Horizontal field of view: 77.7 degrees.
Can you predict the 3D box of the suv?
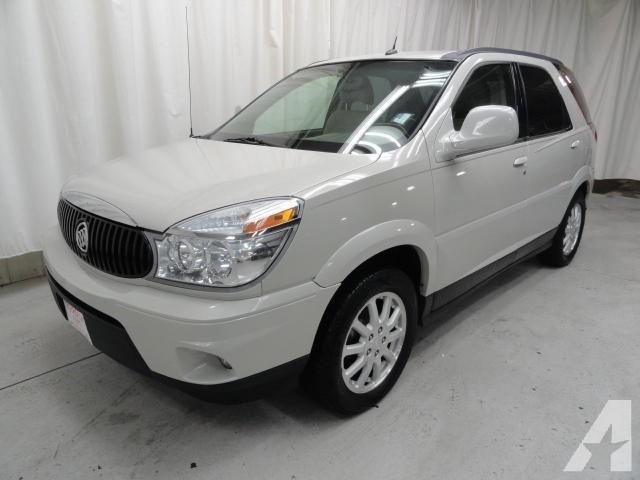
[{"bbox_3d":[0.389,-0.082,2.532,3.157,1.339,1.725,-10,13,-43],"label":"suv"}]
